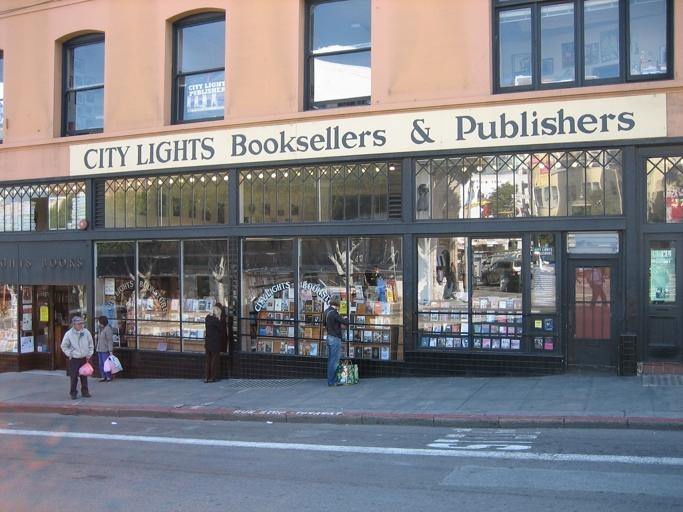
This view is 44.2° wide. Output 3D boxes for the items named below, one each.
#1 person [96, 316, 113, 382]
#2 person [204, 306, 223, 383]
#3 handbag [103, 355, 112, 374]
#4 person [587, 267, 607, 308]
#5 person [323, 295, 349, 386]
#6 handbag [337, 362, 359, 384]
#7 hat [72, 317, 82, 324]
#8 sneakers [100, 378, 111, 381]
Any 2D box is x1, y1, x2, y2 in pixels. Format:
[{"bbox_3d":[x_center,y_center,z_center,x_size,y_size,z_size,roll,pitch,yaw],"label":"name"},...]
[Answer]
[{"bbox_3d":[-6.250,2.445,22.313,0.406,1.750,0.622,-5,9,-16],"label":"person"},{"bbox_3d":[-3.213,2.234,21.382,0.349,1.895,0.667,3,10,33],"label":"person"},{"bbox_3d":[-6.147,2.882,22.166,0.194,0.496,0.388,-6,9,-21],"label":"handbag"},{"bbox_3d":[5.804,0.682,19.105,0.535,0.746,0.190,1,-1,43],"label":"person"},{"bbox_3d":[-0.108,2.002,19.927,0.512,2.069,0.531,-3,9,-1],"label":"person"},{"bbox_3d":[0.139,2.808,20.106,0.392,0.587,0.514,0,1,-4],"label":"handbag"},{"bbox_3d":[-6.411,1.562,20.455,0.281,0.118,0.266,-5,15,-36],"label":"hat"},{"bbox_3d":[-6.237,3.292,22.321,0.252,0.114,0.096,8,-1,-2],"label":"sneakers"}]
